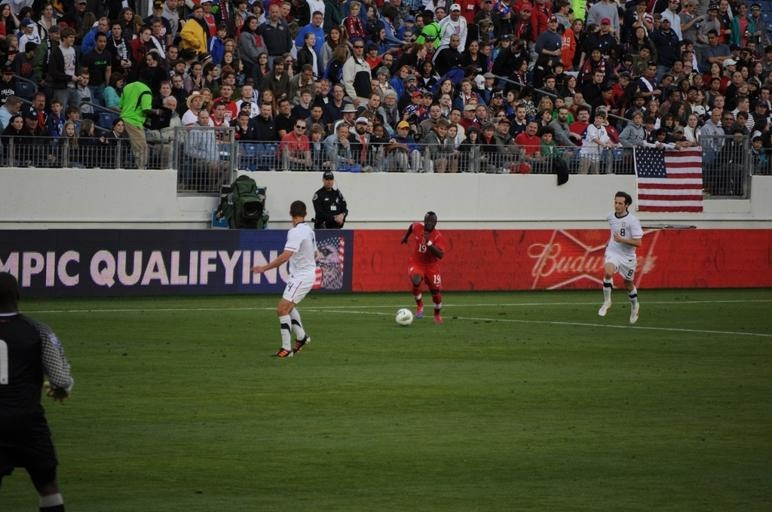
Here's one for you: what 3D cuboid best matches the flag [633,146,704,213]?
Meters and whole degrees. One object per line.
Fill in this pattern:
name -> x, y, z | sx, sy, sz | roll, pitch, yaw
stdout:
flag -> 7.994, -2.108, 44.128 | 2.005, 1.859, 0.307 | 0, 4, -13
